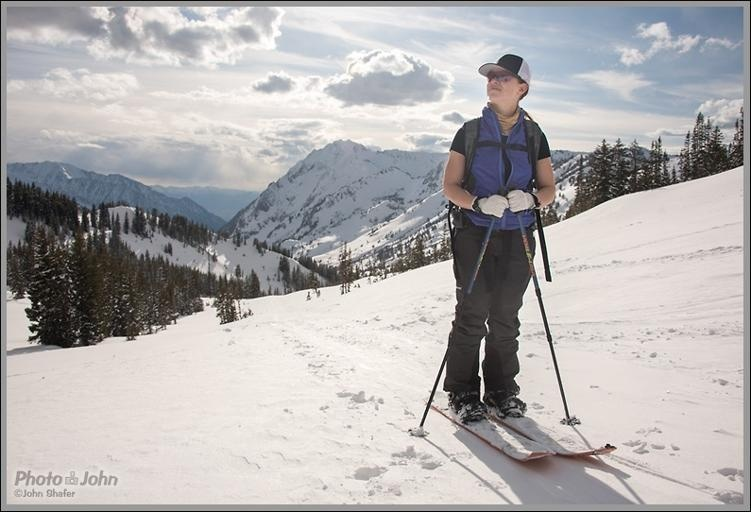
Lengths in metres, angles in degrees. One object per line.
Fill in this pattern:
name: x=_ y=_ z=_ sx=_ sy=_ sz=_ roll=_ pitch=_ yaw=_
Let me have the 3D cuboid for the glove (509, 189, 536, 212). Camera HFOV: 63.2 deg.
glove: x=2.615 y=-0.985 z=10.954 sx=0.571 sy=0.399 sz=0.270 roll=-6 pitch=3 yaw=-5

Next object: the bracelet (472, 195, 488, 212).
bracelet: x=1.831 y=-0.933 z=10.866 sx=0.251 sy=0.203 sz=0.133 roll=19 pitch=-28 yaw=40

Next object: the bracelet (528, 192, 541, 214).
bracelet: x=2.892 y=-0.937 z=11.037 sx=0.197 sy=0.370 sz=0.284 roll=-10 pitch=-27 yaw=17
